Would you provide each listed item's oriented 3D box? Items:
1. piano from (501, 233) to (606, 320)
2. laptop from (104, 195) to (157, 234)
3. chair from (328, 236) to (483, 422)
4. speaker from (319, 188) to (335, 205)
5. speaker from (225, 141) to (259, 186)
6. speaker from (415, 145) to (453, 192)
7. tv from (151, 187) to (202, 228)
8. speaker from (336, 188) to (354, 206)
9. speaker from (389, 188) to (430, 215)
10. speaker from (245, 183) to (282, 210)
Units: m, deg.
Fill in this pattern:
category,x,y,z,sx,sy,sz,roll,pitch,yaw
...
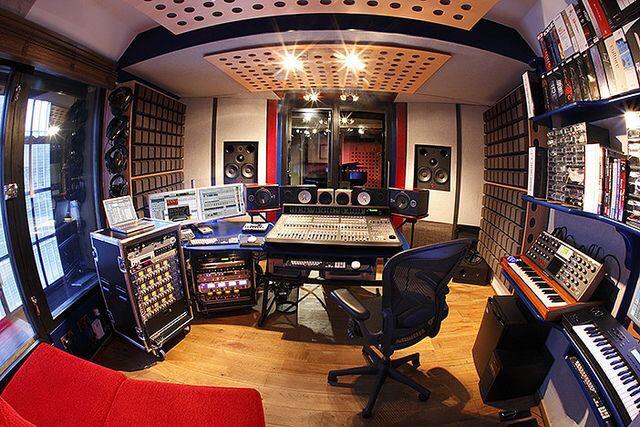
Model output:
category,x,y,z,sx,sy,sz,roll,pitch,yaw
piano,1.933,0.493,3.390,0.531,0.378,0.813,-15,21,0
laptop,-1.841,0.026,3.866,0.350,0.283,0.319,20,20,33
chair,0.679,0.919,3.712,1.035,1.672,1.102,-10,19,-30
speaker,0.076,-0.199,4.749,0.173,0.177,0.181,1,14,-2
speaker,-1.210,-0.759,6.094,0.521,0.751,0.389,-2,18,-17
speaker,1.714,-0.747,5.922,0.529,0.731,0.393,8,37,24
tv,-1.617,-0.054,4.467,0.437,0.352,0.141,-5,8,-30
speaker,0.287,-0.188,4.730,0.170,0.176,0.181,2,10,2
speaker,1.114,-0.137,4.992,0.307,0.335,0.444,-2,8,-43
speaker,-0.696,-0.202,4.888,0.323,0.251,0.341,-1,3,-13
